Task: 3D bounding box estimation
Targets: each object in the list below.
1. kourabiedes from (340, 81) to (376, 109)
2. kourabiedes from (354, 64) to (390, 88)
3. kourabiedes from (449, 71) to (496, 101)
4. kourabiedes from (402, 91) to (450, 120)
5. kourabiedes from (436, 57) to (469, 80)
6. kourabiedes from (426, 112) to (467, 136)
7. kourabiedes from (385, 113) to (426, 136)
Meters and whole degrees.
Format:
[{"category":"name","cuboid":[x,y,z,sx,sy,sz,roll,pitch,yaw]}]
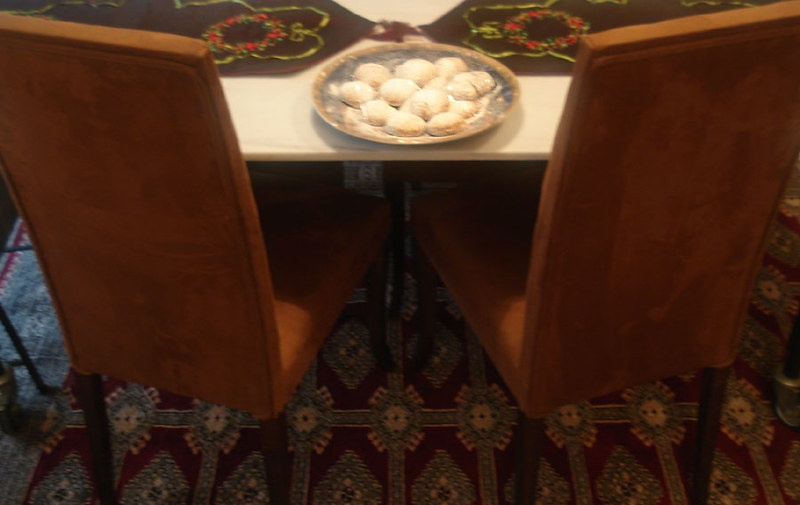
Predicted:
[{"category":"kourabiedes","cuboid":[-0.080,-0.311,1.245,0.059,0.028,0.056,-27,61,-18]},{"category":"kourabiedes","cuboid":[-0.054,-0.361,1.287,0.065,0.033,0.050,9,51,5]},{"category":"kourabiedes","cuboid":[0.145,-0.329,1.262,0.083,0.021,0.062,-5,63,-4]},{"category":"kourabiedes","cuboid":[0.056,-0.287,1.213,0.068,0.021,0.068,17,54,18]},{"category":"kourabiedes","cuboid":[0.112,-0.382,1.310,0.059,0.017,0.050,9,60,7]},{"category":"kourabiedes","cuboid":[0.085,-0.239,1.184,0.049,0.014,0.052,0,44,6]},{"category":"kourabiedes","cuboid":[0.015,-0.237,1.184,0.052,0.015,0.052,-21,48,-23]}]
